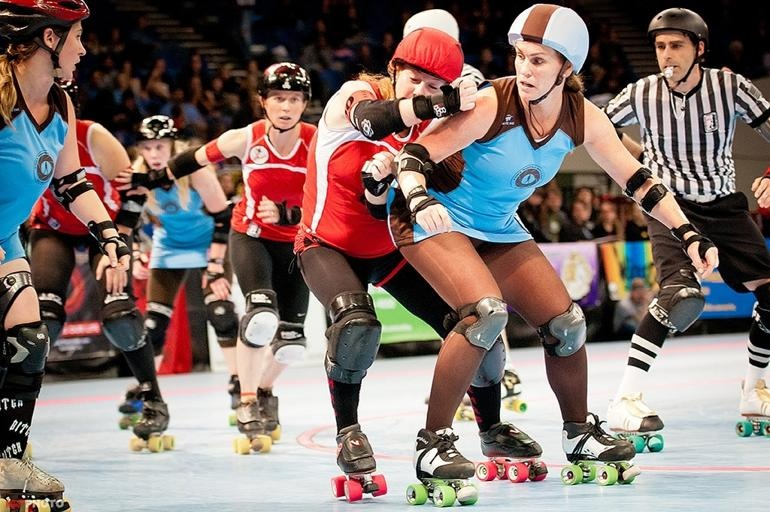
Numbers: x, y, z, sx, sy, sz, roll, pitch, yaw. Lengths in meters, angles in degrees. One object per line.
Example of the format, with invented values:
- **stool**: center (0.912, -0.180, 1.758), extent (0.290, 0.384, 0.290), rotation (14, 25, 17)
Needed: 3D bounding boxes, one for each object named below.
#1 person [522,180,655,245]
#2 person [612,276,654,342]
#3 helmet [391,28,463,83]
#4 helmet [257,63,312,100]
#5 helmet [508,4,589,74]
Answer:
- **person**: center (3.305, -0.623, 13.552), extent (1.747, 0.651, 1.385), rotation (12, -5, -5)
- **person**: center (3.616, 0.687, 11.767), extent (0.651, 0.895, 0.356), rotation (10, -15, 1)
- **helmet**: center (0.299, -1.322, 5.205), extent (0.452, 0.284, 0.511), rotation (-1, 22, -36)
- **helmet**: center (-0.848, -1.471, 6.898), extent (0.412, 0.361, 0.486), rotation (-2, -1, -9)
- **helmet**: center (1.009, -1.388, 5.110), extent (0.479, 0.376, 0.355), rotation (-8, 23, -14)
